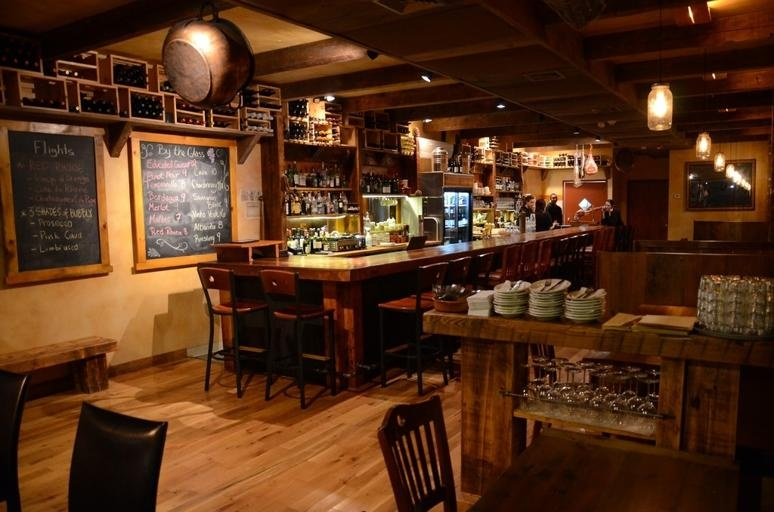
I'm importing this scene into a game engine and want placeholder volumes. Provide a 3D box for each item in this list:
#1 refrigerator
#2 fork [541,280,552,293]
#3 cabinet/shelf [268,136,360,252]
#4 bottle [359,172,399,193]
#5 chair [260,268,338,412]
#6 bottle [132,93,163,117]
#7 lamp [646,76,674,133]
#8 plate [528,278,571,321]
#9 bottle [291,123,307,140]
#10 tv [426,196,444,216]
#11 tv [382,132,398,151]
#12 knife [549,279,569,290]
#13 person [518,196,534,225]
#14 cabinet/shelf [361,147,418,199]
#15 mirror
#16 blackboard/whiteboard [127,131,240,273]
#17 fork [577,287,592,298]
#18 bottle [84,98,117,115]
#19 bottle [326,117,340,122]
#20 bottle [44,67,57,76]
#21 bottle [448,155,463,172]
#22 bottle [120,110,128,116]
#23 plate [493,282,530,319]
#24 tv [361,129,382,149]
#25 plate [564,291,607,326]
[{"bbox_3d":[1.034,-0.905,10.517,0.533,1.447,1.617,-1,0,22],"label":"refrigerator"},{"bbox_3d":[1.054,0.199,3.781,0.037,0.051,0.178,5,13,15],"label":"fork"},{"bbox_3d":[-1.054,-1.099,8.486,0.465,1.600,1.792,11,16,38],"label":"cabinet/shelf"},{"bbox_3d":[-0.136,-1.191,9.570,0.462,0.192,0.452,0,1,0],"label":"bottle"},{"bbox_3d":[-0.983,0.756,5.794,0.912,1.300,0.685,1,7,28],"label":"chair"},{"bbox_3d":[-2.711,-1.683,6.401,0.168,0.282,0.305,4,5,40],"label":"bottle"},{"bbox_3d":[2.467,-1.352,5.191,0.258,0.390,0.259,5,12,42],"label":"lamp"},{"bbox_3d":[1.034,0.269,3.709,0.262,0.167,0.257,-3,4,-16],"label":"plate"},{"bbox_3d":[-1.264,-1.762,8.111,0.298,0.241,0.059,-8,8,-42],"label":"bottle"},{"bbox_3d":[0.827,-0.890,10.311,0.368,0.359,0.072,2,8,35],"label":"tv"},{"bbox_3d":[0.031,-1.945,9.757,0.137,0.328,0.410,1,2,34],"label":"tv"},{"bbox_3d":[1.128,0.188,3.751,0.080,0.023,0.079,8,22,38],"label":"knife"},{"bbox_3d":[2.719,-0.931,11.181,0.242,0.476,1.040,-1,6,15],"label":"person"},{"bbox_3d":[-0.021,-1.394,9.810,0.347,0.773,1.532,-4,4,41],"label":"cabinet/shelf"},{"bbox_3d":[7.587,-1.568,12.909,1.320,1.040,0.085,1,3,29],"label":"mirror"},{"bbox_3d":[-2.524,-0.648,6.886,0.075,1.753,1.672,5,8,38],"label":"blackboard/whiteboard"},{"bbox_3d":[1.267,0.237,3.669,0.053,0.026,0.148,5,12,30],"label":"fork"},{"bbox_3d":[-3.042,-1.570,6.044,0.168,0.168,0.330,1,6,26],"label":"bottle"},{"bbox_3d":[-0.815,-2.036,8.591,0.073,0.091,0.245,3,8,44],"label":"bottle"},{"bbox_3d":[-3.391,-1.858,5.748,0.137,0.111,0.047,1,7,32],"label":"bottle"},{"bbox_3d":[1.364,-1.825,11.421,0.261,0.329,0.241,-2,6,0],"label":"bottle"},{"bbox_3d":[-2.871,-1.549,6.215,0.071,0.050,0.038,8,17,25],"label":"bottle"},{"bbox_3d":[0.821,0.288,3.811,0.235,0.140,0.230,-2,2,7],"label":"plate"},{"bbox_3d":[-0.276,-1.902,9.316,0.068,0.224,0.406,1,3,31],"label":"tv"},{"bbox_3d":[1.241,0.317,3.603,0.216,0.141,0.215,-4,3,-44],"label":"plate"}]
